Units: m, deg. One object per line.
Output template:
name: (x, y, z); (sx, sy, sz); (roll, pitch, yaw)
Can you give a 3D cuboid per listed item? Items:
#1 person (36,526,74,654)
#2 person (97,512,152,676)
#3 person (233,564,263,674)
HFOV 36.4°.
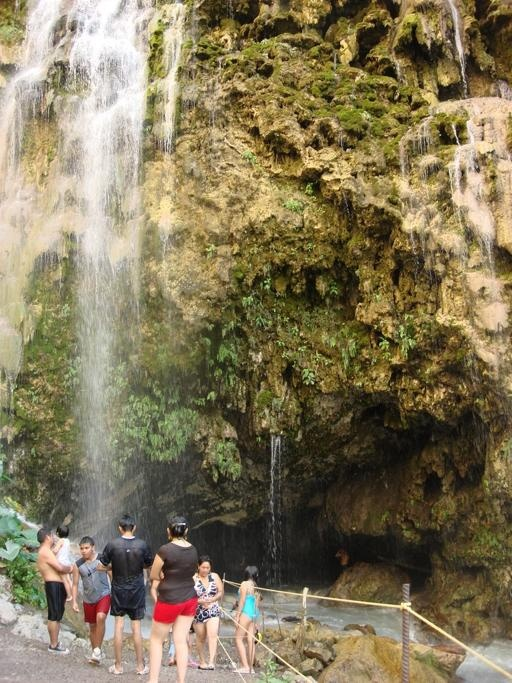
person: (-2.127, 2.673, 8.219); (0.371, 1.369, 0.335); (1, 3, -18)
person: (-1.347, 2.647, 7.949); (0.530, 1.777, 0.567); (2, 3, -12)
person: (-0.114, 3.487, 9.522); (0.271, 1.569, 1.063); (2, 4, 0)
